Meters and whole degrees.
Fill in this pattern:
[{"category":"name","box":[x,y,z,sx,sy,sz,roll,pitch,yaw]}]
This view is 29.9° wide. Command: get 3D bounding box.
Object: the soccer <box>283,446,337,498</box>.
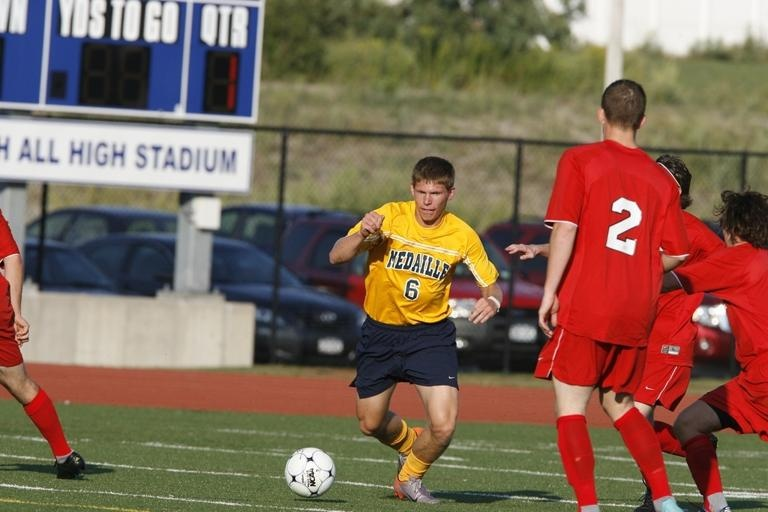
[{"category":"soccer","box":[-0.721,2.077,13.868,0.460,0.481,0.223,2,4,-5]}]
